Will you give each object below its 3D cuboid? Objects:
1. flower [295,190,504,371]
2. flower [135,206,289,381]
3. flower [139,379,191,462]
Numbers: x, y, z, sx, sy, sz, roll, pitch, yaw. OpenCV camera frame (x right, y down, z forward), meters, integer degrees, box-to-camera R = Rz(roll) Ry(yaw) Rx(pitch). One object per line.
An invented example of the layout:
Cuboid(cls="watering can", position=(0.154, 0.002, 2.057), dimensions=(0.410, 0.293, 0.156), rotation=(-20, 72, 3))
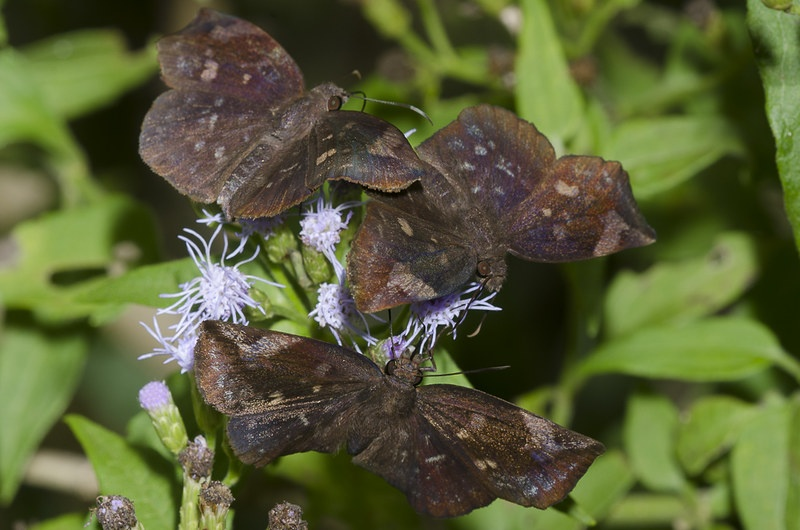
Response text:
Cuboid(cls="flower", position=(-0.100, 0.060, 2.746), dimensions=(0.500, 0.245, 0.535), rotation=(-31, 70, -26))
Cuboid(cls="flower", position=(-0.585, 0.087, 2.758), dimensions=(0.440, 0.533, 0.176), rotation=(-3, 15, -28))
Cuboid(cls="flower", position=(-0.723, 0.464, 2.808), dimensions=(0.113, 0.103, 0.270), rotation=(-26, 90, -29))
